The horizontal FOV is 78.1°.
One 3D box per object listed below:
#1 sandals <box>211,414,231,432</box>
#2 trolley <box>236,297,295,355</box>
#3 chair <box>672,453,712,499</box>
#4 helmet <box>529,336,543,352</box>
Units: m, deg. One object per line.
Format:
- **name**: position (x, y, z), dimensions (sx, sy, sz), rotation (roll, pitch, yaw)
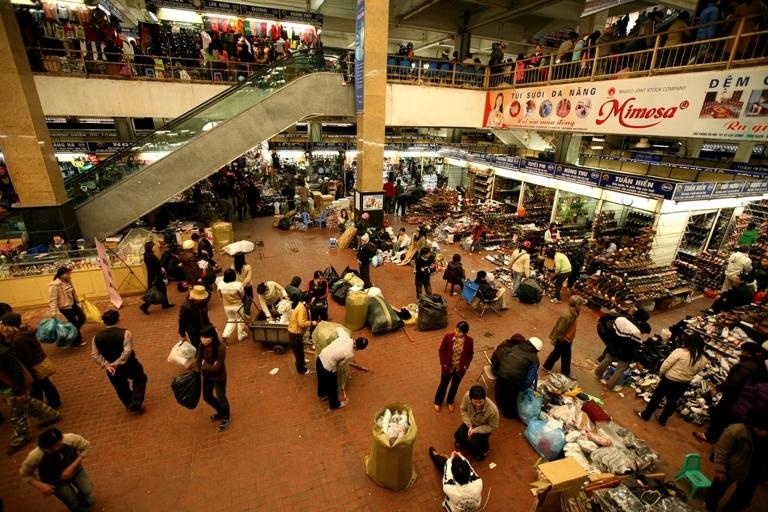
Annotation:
- **sandals**: position (-3.827, 3.904, 11.098), dimensions (0.214, 0.265, 0.627), rotation (4, -2, -27)
- **trolley**: position (-3.098, 1.979, 12.568), dimensions (1.021, 1.382, 1.519), rotation (-1, 6, -9)
- **chair**: position (6.921, 4.857, 10.462), dimensions (0.720, 0.744, 0.708), rotation (14, 22, 14)
- **helmet**: position (3.614, 2.118, 11.317), dimensions (0.280, 0.302, 0.450), rotation (7, 17, 14)
